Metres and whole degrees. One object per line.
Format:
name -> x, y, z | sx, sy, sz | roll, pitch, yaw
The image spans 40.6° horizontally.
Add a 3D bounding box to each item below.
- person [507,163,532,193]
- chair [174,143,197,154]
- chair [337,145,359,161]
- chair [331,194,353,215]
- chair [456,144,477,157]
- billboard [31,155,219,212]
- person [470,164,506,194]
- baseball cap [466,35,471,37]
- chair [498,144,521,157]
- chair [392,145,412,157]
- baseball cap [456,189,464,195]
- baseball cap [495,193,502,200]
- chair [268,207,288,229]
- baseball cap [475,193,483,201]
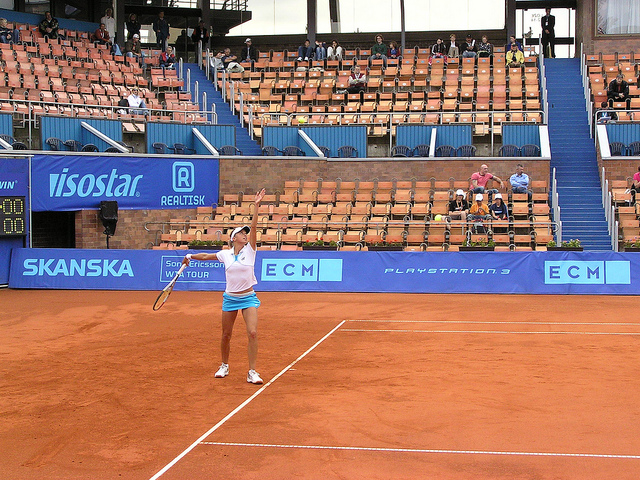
person -> 6.932, -2.118, 30.287 | 0.793, 1.090, 0.748 | 0, 7, -2
chair -> -5.124, -3.432, 32.714 | 0.503, 0.679, 0.511 | 2, 4, 24
chair -> 1.078, -3.462, 33.415 | 0.746, 0.900, 0.696 | 0, 0, 3
chair -> 0.806, -1.275, 30.785 | 0.730, 0.617, 0.904 | 0, 10, 4
chair -> 5.594, -3.438, 33.178 | 0.617, 0.734, 0.572 | 0, -7, 21
billboard -> -6.664, -1.963, 29.727 | 6.672, 2.212, 0.340 | -8, 13, -39
person -> 5.805, -2.125, 30.321 | 1.015, 0.995, 1.645 | 7, 12, 37
baseball cap -> 7.594, -10.371, 44.061 | 0.261, 0.136, 0.382 | -4, 18, -6
chair -> 7.241, -3.402, 32.936 | 0.592, 0.698, 0.542 | 0, -3, 17
chair -> 3.196, -3.479, 33.666 | 0.454, 0.561, 0.436 | 1, 0, 6
baseball cap -> 4.738, -1.622, 29.254 | 0.279, 0.147, 0.416 | 3, 11, 12
baseball cap -> 5.868, -1.429, 28.454 | 0.287, 0.204, 0.395 | 1, 5, 13
chair -> -1.466, -0.780, 30.341 | 0.684, 0.608, 1.459 | -1, 10, -4
baseball cap -> 5.268, -1.430, 28.678 | 0.296, 0.252, 0.496 | 0, 7, 13
